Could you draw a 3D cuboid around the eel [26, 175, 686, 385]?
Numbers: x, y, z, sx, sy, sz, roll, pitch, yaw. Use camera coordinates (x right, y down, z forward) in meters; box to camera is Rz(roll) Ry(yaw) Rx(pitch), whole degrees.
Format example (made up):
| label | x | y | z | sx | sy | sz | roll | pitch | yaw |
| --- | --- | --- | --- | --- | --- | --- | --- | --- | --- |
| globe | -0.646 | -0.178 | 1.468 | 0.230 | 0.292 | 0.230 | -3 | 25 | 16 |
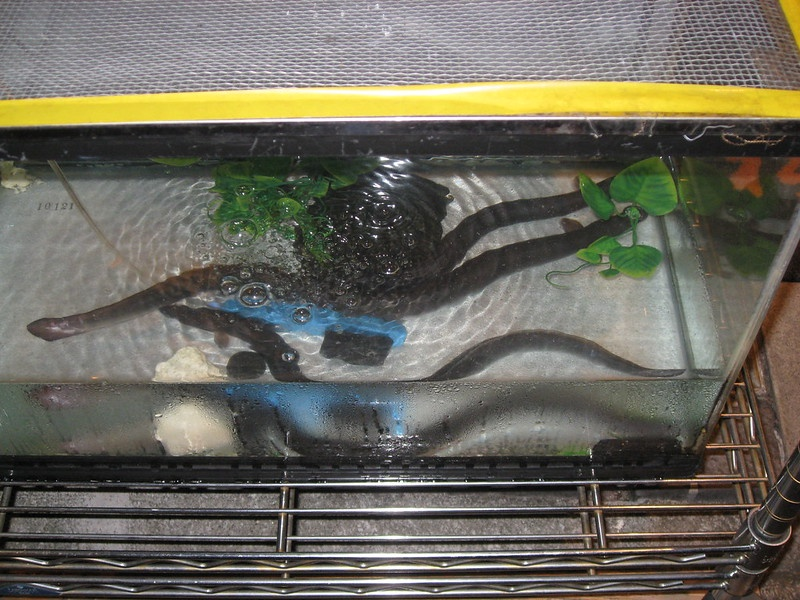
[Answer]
| label | x | y | z | sx | sy | sz | roll | pitch | yaw |
| --- | --- | --- | --- | --- | --- | --- | --- | --- | --- |
| eel | -0.065 | -0.025 | 1.359 | 1.001 | 0.313 | 0.254 | 0 | 60 | -3 |
